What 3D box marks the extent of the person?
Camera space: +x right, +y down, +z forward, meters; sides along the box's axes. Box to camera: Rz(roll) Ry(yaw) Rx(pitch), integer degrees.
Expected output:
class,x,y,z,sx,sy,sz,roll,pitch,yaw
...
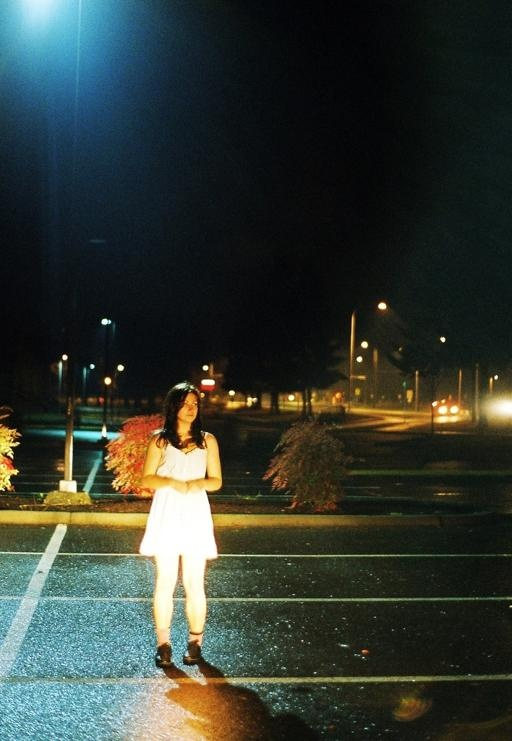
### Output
class,x,y,z,sx,sy,sz,roll,pitch,yaw
person,-0.470,0.967,4.037,0.480,1.557,0.337,1,0,-5

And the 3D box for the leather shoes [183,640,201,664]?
class,x,y,z,sx,sy,sz,roll,pitch,yaw
leather shoes,-0.380,1.782,4.076,0.072,0.133,0.189,3,-7,-1

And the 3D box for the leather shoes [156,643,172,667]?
class,x,y,z,sx,sy,sz,roll,pitch,yaw
leather shoes,-0.565,1.753,3.976,0.068,0.079,0.186,1,-4,-3
